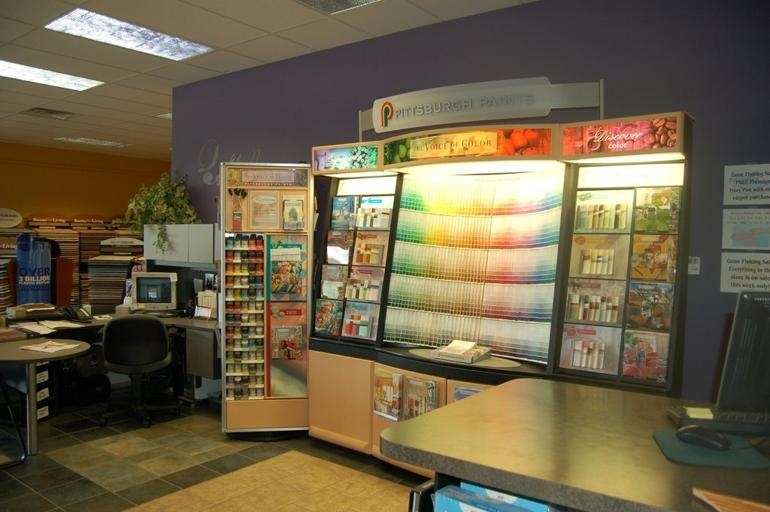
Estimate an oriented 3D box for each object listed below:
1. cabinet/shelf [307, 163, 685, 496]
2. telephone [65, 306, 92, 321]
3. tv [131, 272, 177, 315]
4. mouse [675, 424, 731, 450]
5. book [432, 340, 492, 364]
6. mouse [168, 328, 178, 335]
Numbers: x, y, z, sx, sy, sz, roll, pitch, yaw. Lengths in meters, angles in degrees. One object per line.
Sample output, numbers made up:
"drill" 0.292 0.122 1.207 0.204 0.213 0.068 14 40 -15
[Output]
"cabinet/shelf" 0.959 0.522 4.310 3.496 2.591 1.157 1 -2 38
"telephone" -4.129 0.756 7.088 0.333 0.106 0.202 12 11 35
"tv" -3.200 0.429 7.529 0.866 0.703 0.511 0 0 -23
"mouse" 1.589 0.892 2.627 0.209 0.064 0.100 1 7 32
"book" 0.725 0.869 4.831 0.281 0.092 0.257 0 1 44
"mouse" -2.666 0.944 6.646 0.117 0.137 0.128 1 -3 -18
